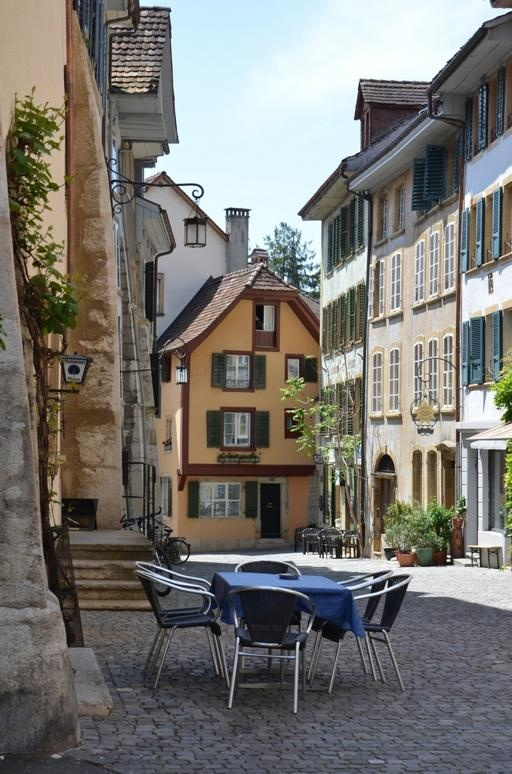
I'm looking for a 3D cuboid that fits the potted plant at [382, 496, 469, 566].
[{"bbox_3d":[3.345,2.935,21.654,1.554,1.249,1.551,-2,-5,22],"label":"potted plant"}]
